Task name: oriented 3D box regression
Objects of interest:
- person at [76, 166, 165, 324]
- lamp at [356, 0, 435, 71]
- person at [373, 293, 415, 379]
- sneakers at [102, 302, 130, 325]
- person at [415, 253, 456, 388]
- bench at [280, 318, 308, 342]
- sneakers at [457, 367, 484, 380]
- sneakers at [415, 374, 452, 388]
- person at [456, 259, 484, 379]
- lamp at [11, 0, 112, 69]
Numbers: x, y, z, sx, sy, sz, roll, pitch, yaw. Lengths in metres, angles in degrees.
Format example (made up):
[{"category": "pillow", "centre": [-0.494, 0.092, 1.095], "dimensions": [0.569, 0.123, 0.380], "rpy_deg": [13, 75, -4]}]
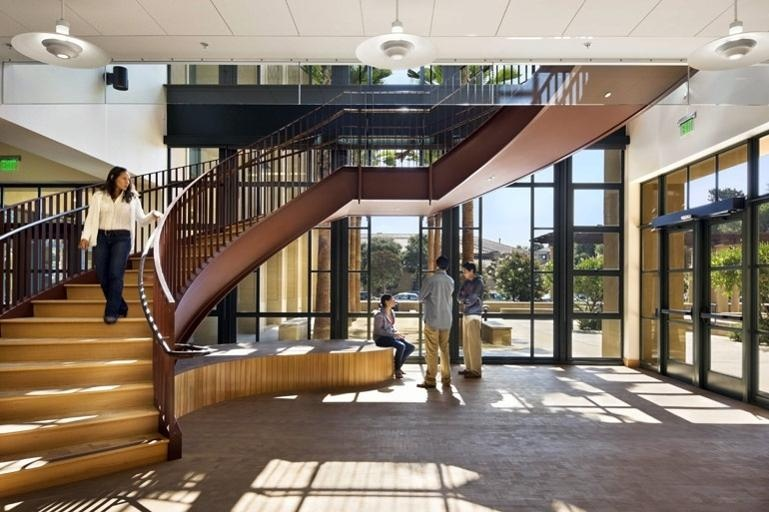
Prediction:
[{"category": "person", "centre": [-3.306, -0.145, 7.268], "dimensions": [0.780, 1.884, 0.455], "rpy_deg": [-2, 7, -27]}, {"category": "lamp", "centre": [0.115, -1.912, 5.504], "dimensions": [0.522, 0.601, 0.546], "rpy_deg": [-8, -13, 39]}, {"category": "person", "centre": [0.145, 1.285, 9.531], "dimensions": [0.616, 1.353, 0.388], "rpy_deg": [1, 6, 2]}, {"category": "sneakers", "centre": [-3.264, 0.711, 7.268], "dimensions": [0.127, 0.202, 0.394], "rpy_deg": [4, 22, 2]}, {"category": "person", "centre": [0.820, 0.997, 9.326], "dimensions": [0.491, 1.960, 1.318], "rpy_deg": [1, 6, 6]}, {"category": "bench", "centre": [-1.712, 1.363, 11.075], "dimensions": [0.549, 0.397, 0.159], "rpy_deg": [0, 6, -7]}, {"category": "sneakers", "centre": [1.405, 1.942, 9.692], "dimensions": [0.413, 0.175, 0.139], "rpy_deg": [11, -9, 8]}, {"category": "sneakers", "centre": [0.740, 1.889, 8.885], "dimensions": [0.522, 0.220, 0.173], "rpy_deg": [3, -5, -2]}, {"category": "person", "centre": [1.384, 1.045, 9.581], "dimensions": [0.419, 1.869, 0.378], "rpy_deg": [3, 6, 19]}, {"category": "lamp", "centre": [-3.134, -2.137, 5.816], "dimensions": [0.722, 0.782, 0.729], "rpy_deg": [-8, -15, -7]}]
